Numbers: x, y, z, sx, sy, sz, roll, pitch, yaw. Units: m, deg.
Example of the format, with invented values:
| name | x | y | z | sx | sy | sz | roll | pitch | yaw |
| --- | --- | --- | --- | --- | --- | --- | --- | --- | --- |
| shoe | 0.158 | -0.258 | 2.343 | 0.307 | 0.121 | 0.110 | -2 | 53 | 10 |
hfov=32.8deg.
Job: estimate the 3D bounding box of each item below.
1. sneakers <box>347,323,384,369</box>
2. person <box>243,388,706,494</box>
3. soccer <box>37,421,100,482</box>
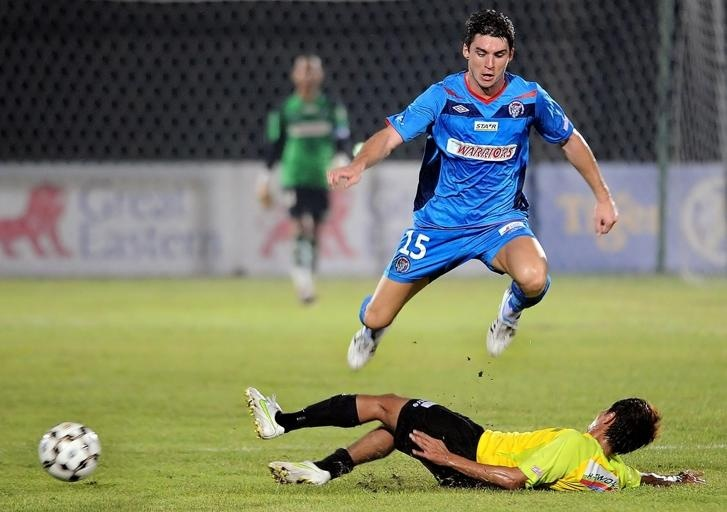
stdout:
| name | x | y | z | sx | sy | sz | roll | pitch | yaw |
| --- | --- | --- | --- | --- | --- | --- | --- | --- | --- |
| sneakers | -0.002 | 0.750 | 10.287 | 0.170 | 0.491 | 0.216 | 34 | 6 | -2 |
| person | 0.861 | 1.440 | 9.211 | 3.134 | 0.837 | 1.183 | -1 | -16 | 10 |
| soccer | -2.138 | 1.396 | 9.103 | 0.391 | 0.416 | 0.392 | 12 | -42 | -13 |
